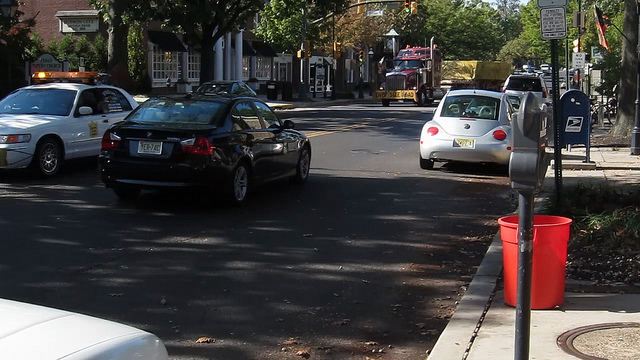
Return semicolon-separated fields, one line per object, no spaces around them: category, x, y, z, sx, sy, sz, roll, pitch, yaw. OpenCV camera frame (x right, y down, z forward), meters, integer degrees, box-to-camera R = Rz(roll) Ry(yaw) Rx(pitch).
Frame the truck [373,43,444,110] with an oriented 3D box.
truck;7.050;-8.120;48.178;3.403;4.664;5.917;10;15;37

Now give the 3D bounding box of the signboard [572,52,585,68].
signboard;14.655;-6.810;35.228;0.578;0.775;0.375;9;14;33

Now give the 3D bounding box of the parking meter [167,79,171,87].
parking meter;-12.143;-7.844;49.995;0.273;0.662;2.337;-2;13;-14

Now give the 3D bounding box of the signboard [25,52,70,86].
signboard;-10.758;-4.266;24.523;1.554;1.624;0.187;-3;-5;-6
